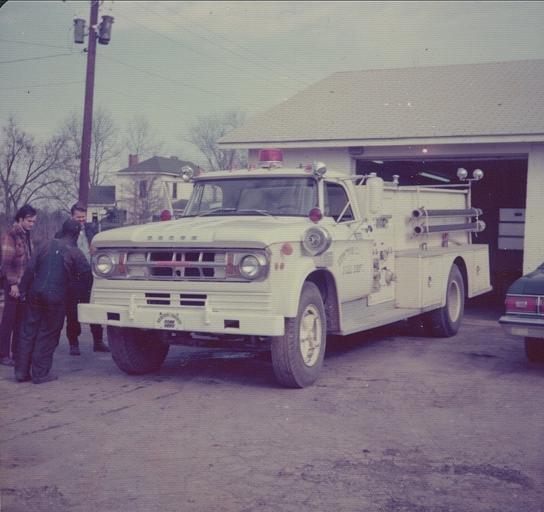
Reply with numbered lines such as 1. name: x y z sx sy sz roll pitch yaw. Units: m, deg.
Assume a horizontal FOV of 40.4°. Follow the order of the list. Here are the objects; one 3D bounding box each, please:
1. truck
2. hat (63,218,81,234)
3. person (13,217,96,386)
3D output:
1. truck: 0.594 0.156 9.318 2.196 2.030 5.380 -3 -2 33
2. hat: -2.278 -0.332 8.401 0.166 0.171 0.175 -1 1 6
3. person: -2.358 0.568 7.904 0.564 1.474 0.854 4 5 39
